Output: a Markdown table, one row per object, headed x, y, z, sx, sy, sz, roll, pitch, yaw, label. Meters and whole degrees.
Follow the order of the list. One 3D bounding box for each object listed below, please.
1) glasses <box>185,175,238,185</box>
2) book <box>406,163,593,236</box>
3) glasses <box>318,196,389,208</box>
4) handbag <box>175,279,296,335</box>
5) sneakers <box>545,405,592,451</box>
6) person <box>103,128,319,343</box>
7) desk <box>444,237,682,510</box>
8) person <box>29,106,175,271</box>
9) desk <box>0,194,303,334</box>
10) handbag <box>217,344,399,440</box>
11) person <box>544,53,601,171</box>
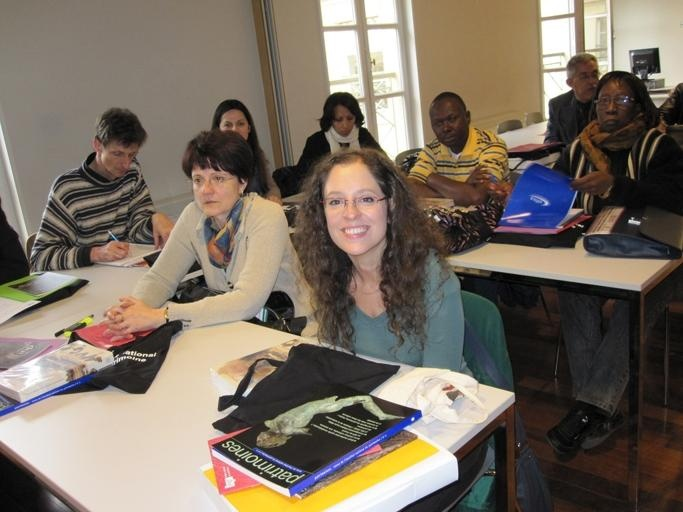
| x | y | z | sx | sy | sz | roll | pitch | yaw | label |
| --- | --- | --- | --- | --- | --- | --- | --- | --- | --- |
| -0.581 | -0.331 | 2.095 | 0.218 | 0.038 | 0.080 | 1 | 20 | 21 | glasses |
| 0.973 | -0.257 | 2.396 | 0.419 | 0.155 | 0.330 | 24 | 71 | 43 | book |
| 0.045 | -0.179 | 1.588 | 0.202 | 0.037 | 0.048 | -6 | 19 | 2 | glasses |
| -0.361 | 0.225 | 2.080 | 0.380 | 0.127 | 0.277 | 11 | 20 | 24 | handbag |
| 1.056 | 0.752 | 2.202 | 0.111 | 0.119 | 0.304 | 40 | 40 | 19 | sneakers |
| -0.511 | -0.137 | 2.136 | 0.626 | 0.799 | 0.954 | 10 | 11 | 39 | person |
| 1.048 | 0.360 | 2.426 | 0.985 | 0.936 | 1.002 | 12 | 24 | 38 | desk |
| -1.589 | -0.440 | 3.069 | 0.593 | 1.043 | 0.840 | 25 | 38 | 18 | person |
| -0.590 | 0.037 | 1.969 | 0.509 | 0.436 | 0.705 | 6 | 15 | 34 | desk |
| -0.081 | 0.343 | 1.289 | 0.265 | 0.106 | 0.474 | 12 | 26 | 43 | handbag |
| 2.211 | -1.303 | 4.474 | 0.597 | 0.974 | 0.499 | 3 | -6 | 21 | person |
